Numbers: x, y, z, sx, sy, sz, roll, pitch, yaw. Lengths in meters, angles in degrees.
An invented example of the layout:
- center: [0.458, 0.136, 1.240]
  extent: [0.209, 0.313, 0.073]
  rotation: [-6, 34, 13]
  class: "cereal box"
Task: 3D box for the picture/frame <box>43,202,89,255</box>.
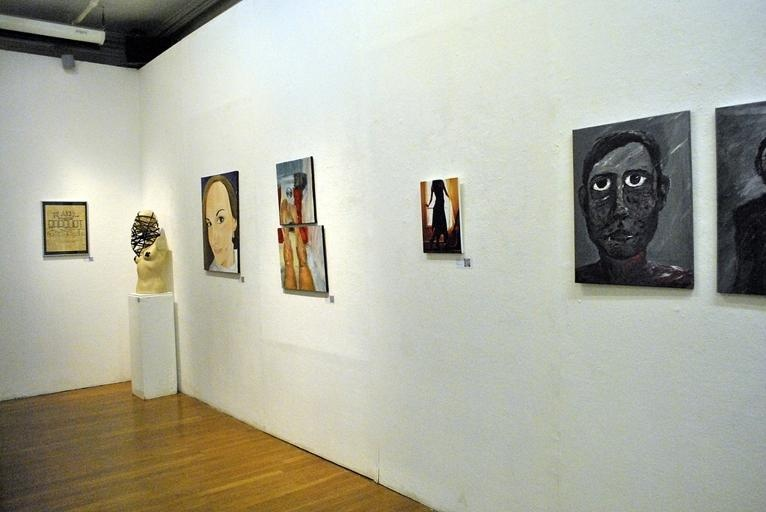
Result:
- center: [-5.702, -0.497, 10.374]
  extent: [0.941, 1.269, 0.088]
  rotation: [-1, 0, -29]
  class: "picture/frame"
